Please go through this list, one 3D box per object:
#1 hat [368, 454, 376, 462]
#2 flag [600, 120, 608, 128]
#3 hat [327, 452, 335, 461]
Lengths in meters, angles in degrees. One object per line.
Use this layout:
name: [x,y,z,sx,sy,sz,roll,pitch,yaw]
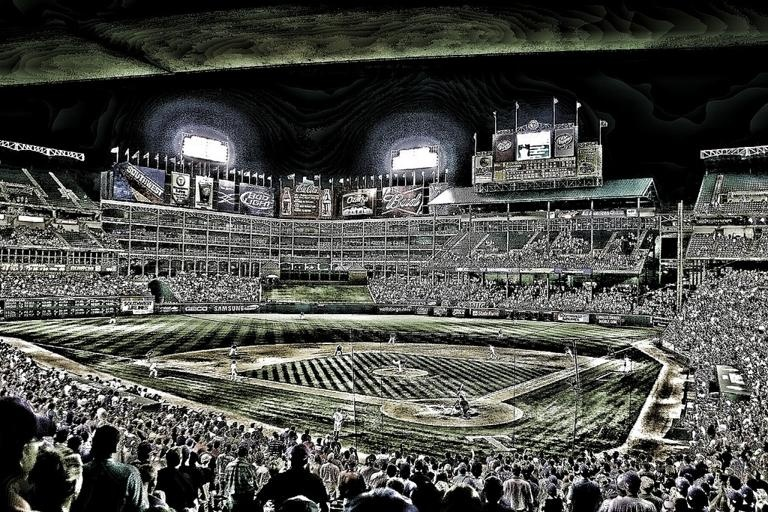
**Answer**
hat: [-0.371,5.888,19.898,0.222,0.075,0.221,1,-2,-5]
flag: [24.021,-14.594,74.805,0.867,0.561,1.802,-2,-4,18]
hat: [-1.497,5.742,19.388,0.250,0.124,0.239,-9,5,-31]
